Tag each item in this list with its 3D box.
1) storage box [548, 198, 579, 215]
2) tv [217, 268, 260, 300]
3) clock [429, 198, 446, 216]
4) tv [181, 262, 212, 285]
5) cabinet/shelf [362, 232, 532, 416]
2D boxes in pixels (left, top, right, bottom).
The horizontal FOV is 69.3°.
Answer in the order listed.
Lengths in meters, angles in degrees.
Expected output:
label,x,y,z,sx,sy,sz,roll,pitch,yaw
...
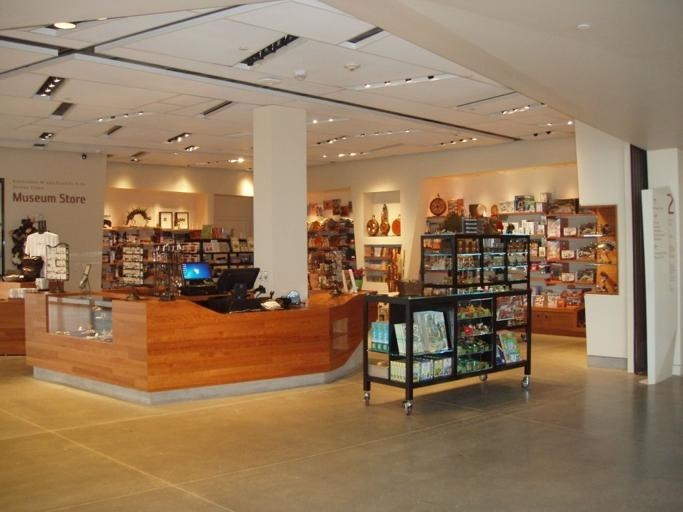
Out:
label,x,y,z,sx,sy,sz,roll,pitch,yaw
storage box,5.109,-1.115,11.305,0.491,0.217,0.163,1,2,40
tv,-1.537,0.352,7.394,0.726,0.415,0.406,-1,11,-27
clock,2.611,-1.317,13.428,0.659,0.592,0.132,1,-5,2
tv,-2.364,0.293,8.000,0.429,0.250,0.119,3,-20,-37
cabinet/shelf,1.617,1.034,7.016,3.141,2.359,1.000,-1,3,-42
